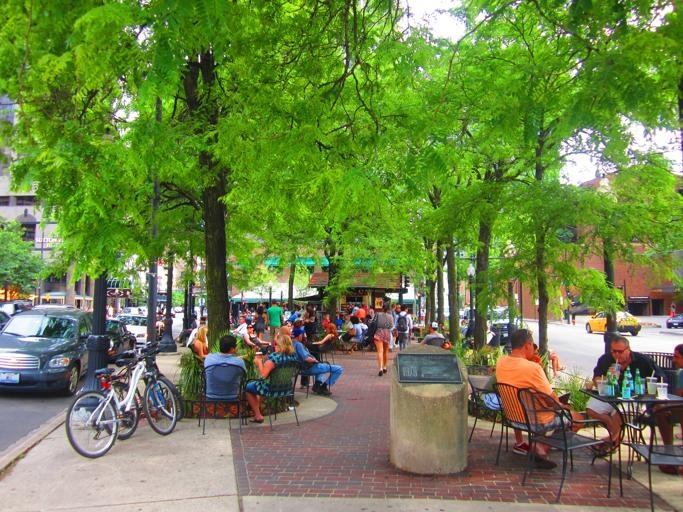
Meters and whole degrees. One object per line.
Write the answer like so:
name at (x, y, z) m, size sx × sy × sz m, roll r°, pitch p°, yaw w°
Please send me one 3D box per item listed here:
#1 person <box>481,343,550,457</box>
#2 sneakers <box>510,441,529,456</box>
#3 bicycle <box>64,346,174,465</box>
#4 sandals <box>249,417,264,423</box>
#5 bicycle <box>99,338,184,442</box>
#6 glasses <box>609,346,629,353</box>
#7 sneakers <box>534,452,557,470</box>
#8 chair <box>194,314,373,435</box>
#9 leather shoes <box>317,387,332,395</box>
person at (2.651, 1.979, 8.124) m, size 0.811 × 1.852 × 1.259 m, roll -1°, pitch -5°, yaw 17°
sneakers at (2.697, 2.909, 8.526) m, size 0.119 × 0.157 × 0.336 m, roll 0°, pitch -21°, yaw -8°
bicycle at (-3.470, 2.284, 9.258) m, size 0.974 × 1.614 × 2.198 m, roll 0°, pitch -6°, yaw 3°
sandals at (-1.628, 3.082, 10.625) m, size 0.295 × 0.135 × 0.114 m, roll 3°, pitch -10°, yaw 5°
bicycle at (-3.589, 2.371, 9.696) m, size 0.921 × 1.201 × 1.786 m, roll -6°, pitch -2°, yaw 11°
glasses at (4.274, 1.429, 8.595) m, size 0.285 × 0.067 × 0.159 m, roll 0°, pitch -6°, yaw 0°
sneakers at (2.872, 2.905, 8.000) m, size 0.374 × 0.163 × 0.139 m, roll -7°, pitch -12°, yaw 37°
chair at (-1.686, 2.250, 11.383) m, size 2.815 × 1.859 × 1.557 m, roll 0°, pitch -30°, yaw 7°
leather shoes at (-0.416, 3.279, 13.660) m, size 0.343 × 0.279 × 0.134 m, roll -1°, pitch -25°, yaw 6°
